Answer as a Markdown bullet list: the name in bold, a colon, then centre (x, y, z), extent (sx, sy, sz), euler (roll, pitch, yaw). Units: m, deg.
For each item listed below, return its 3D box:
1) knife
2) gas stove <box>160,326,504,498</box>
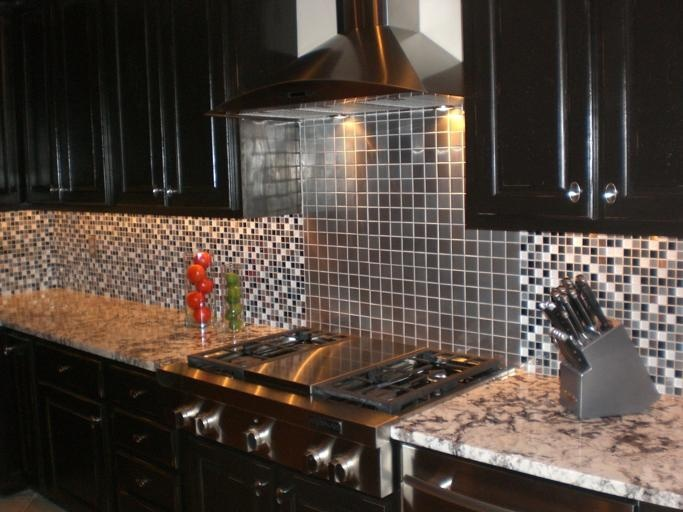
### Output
- **knife**: centre (0.784, 0.203, 2.143), extent (0.199, 0.327, 0.087), euler (-27, 10, -20)
- **gas stove**: centre (-0.056, 0.604, 2.706), extent (0.887, 0.360, 1.243), euler (-7, 6, -42)
